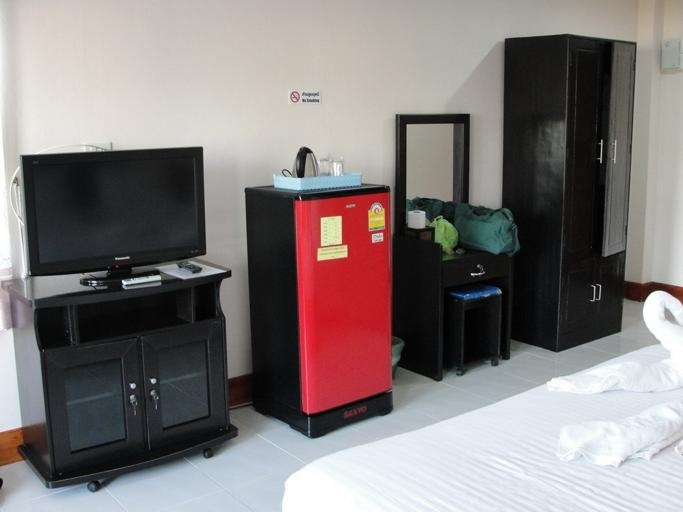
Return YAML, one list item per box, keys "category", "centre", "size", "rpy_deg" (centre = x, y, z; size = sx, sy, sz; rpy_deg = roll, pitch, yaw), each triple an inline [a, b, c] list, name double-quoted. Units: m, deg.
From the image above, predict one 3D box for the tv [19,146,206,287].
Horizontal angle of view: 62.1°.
- category: "tv"
  centre: [-1.264, -0.216, 3.057]
  size: [0.709, 0.521, 0.076]
  rpy_deg: [-10, 15, -36]

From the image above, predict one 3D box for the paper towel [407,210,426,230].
- category: "paper towel"
  centre: [0.578, -0.273, 4.344]
  size: [0.139, 0.139, 0.134]
  rpy_deg: [-1, 9, -6]

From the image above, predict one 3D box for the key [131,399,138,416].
- category: "key"
  centre: [-1.114, 0.810, 3.059]
  size: [0.032, 0.110, 0.014]
  rpy_deg: [-7, 11, -24]

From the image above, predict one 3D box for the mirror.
- category: "mirror"
  centre: [0.696, -0.642, 4.465]
  size: [0.873, 1.317, 0.072]
  rpy_deg: [-6, 10, -36]

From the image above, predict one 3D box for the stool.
- category: "stool"
  centre: [0.986, 0.550, 4.385]
  size: [0.385, 0.610, 0.355]
  rpy_deg: [-4, 9, -26]

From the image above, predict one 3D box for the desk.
- category: "desk"
  centre: [0.809, 0.379, 4.270]
  size: [0.881, 1.195, 0.624]
  rpy_deg: [-8, 11, -41]

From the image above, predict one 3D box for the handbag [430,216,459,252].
- category: "handbag"
  centre: [0.799, -0.172, 4.444]
  size: [0.197, 0.263, 0.095]
  rpy_deg: [-30, 1, -16]

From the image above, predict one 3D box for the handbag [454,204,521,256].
- category: "handbag"
  centre: [1.122, -0.208, 4.472]
  size: [0.306, 0.368, 0.587]
  rpy_deg: [2, 9, -33]

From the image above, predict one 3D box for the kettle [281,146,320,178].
- category: "kettle"
  centre: [-0.250, -0.603, 3.624]
  size: [0.244, 0.204, 0.177]
  rpy_deg: [-1, 15, 4]
